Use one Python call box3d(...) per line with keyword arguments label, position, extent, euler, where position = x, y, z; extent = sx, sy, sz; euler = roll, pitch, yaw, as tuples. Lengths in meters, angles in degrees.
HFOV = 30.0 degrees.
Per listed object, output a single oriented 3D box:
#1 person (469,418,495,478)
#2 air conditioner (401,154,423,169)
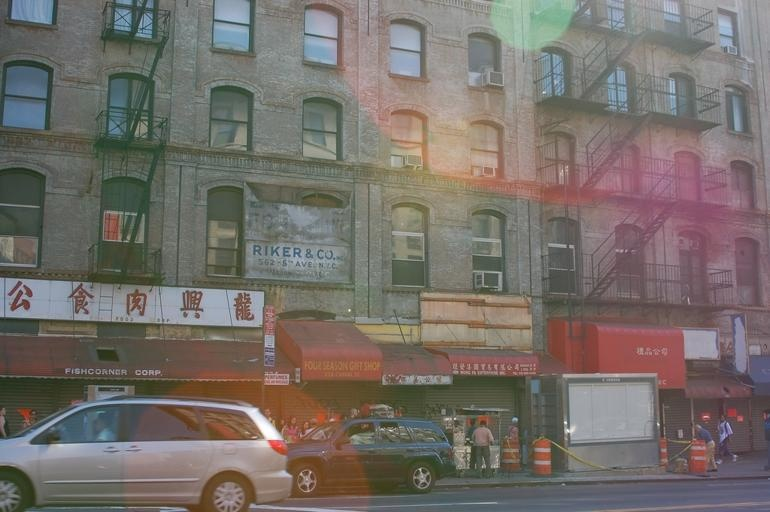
box3d(label="person", position=(3.720, 7.490, 56.285), extent=(0.786, 2.194, 0.933), euler=(0, -10, 0))
box3d(label="air conditioner", position=(1.065, -4.101, 61.460), extent=(0.961, 0.570, 0.644), euler=(3, -5, -15))
